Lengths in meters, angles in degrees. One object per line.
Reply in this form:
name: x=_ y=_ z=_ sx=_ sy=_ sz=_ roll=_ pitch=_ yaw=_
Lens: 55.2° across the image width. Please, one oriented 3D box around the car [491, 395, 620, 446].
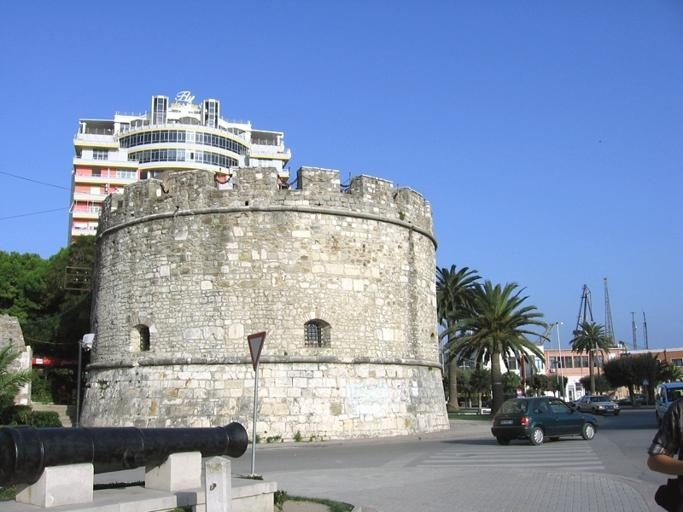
car: x=6.477 y=5.263 z=20.916 sx=3.226 sy=1.444 sz=0.975 roll=2 pitch=-13 yaw=-22
